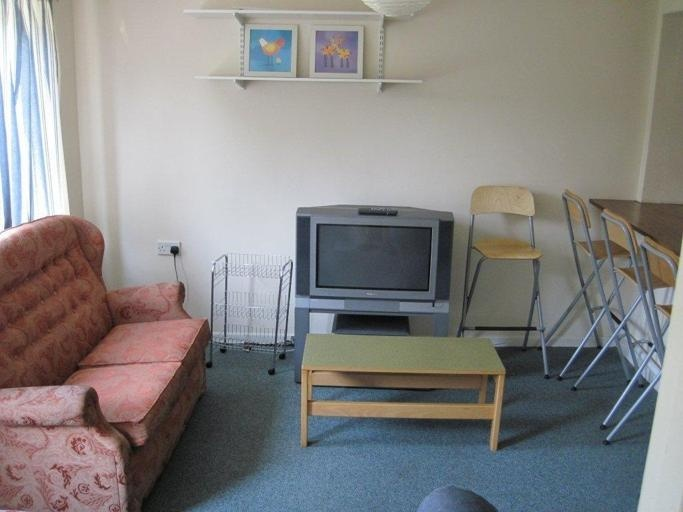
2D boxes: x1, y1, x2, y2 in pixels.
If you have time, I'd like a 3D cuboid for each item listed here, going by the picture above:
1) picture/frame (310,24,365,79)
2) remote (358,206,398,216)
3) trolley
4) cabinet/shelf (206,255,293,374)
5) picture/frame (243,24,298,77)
[{"bbox_3d":[-0.021,-1.459,3.876,0.375,0.350,0.029,0,6,3],"label":"picture/frame"},{"bbox_3d":[0.252,-0.307,3.708,0.265,0.035,0.188,2,18,7],"label":"remote"},{"bbox_3d":[-0.701,0.444,4.220,0.561,0.789,0.446,5,4,-3],"label":"trolley"},{"bbox_3d":[-0.698,0.423,4.161,0.587,0.867,0.490,7,21,8],"label":"cabinet/shelf"},{"bbox_3d":[-0.518,-1.470,3.879,0.368,0.342,0.028,0,6,-1],"label":"picture/frame"}]
